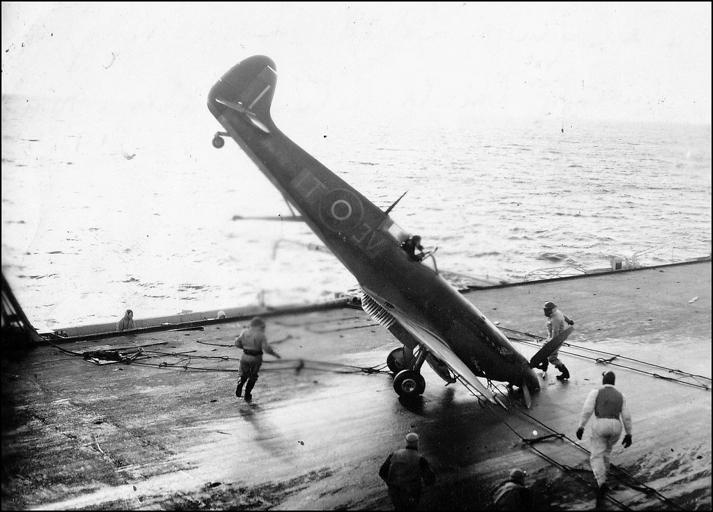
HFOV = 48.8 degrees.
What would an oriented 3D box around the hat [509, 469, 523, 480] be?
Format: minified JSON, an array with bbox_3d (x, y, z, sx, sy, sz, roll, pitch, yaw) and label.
[{"bbox_3d":[2.444,3.340,11.915,0.179,0.129,0.158,-25,-39,10],"label":"hat"}]

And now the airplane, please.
[{"bbox_3d":[0.124,-0.392,15.102,2.613,6.283,7.330,-42,11,8],"label":"airplane"}]

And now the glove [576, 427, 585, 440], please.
[{"bbox_3d":[3.730,2.987,13.098,0.098,0.224,0.255,-18,-21,13],"label":"glove"}]

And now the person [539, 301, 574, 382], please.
[{"bbox_3d":[4.141,1.859,16.295,0.747,1.497,0.731,13,50,41],"label":"person"}]

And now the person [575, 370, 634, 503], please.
[{"bbox_3d":[4.124,2.933,13.074,0.875,1.942,1.504,-1,9,17],"label":"person"}]

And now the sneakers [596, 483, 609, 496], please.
[{"bbox_3d":[4.001,3.826,12.747,0.212,0.174,0.175,-3,9,6],"label":"sneakers"}]

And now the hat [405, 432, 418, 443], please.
[{"bbox_3d":[0.885,2.865,12.314,0.221,0.111,0.219,5,2,11],"label":"hat"}]
